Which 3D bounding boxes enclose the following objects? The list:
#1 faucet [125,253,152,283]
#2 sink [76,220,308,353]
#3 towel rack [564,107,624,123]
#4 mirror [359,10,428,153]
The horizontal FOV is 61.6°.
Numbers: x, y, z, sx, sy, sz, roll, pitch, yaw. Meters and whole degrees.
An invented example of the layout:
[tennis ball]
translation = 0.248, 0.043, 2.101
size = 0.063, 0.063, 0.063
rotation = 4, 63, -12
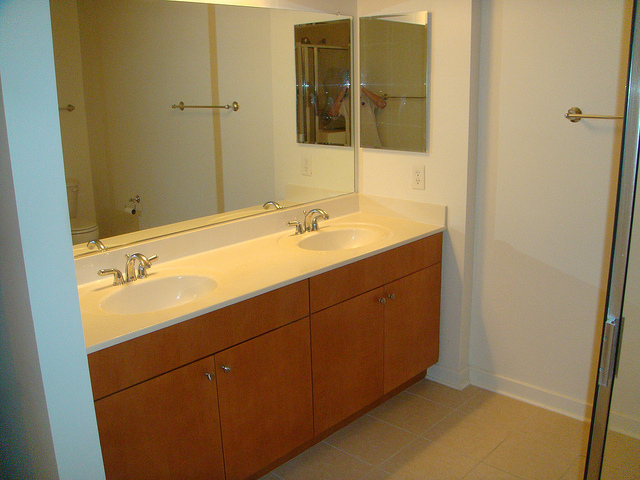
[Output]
[faucet]
translation = -0.789, 0.121, 2.277
size = 0.068, 0.143, 0.175
rotation = -7, 8, -43
[sink]
translation = -0.589, 0.162, 2.320
size = 0.943, 0.248, 0.658
rotation = -15, 21, -33
[towel rack]
translation = 1.321, -0.598, 2.578
size = 0.064, 0.092, 0.230
rotation = -16, 13, -42
[mirror]
translation = 0.423, -0.892, 3.061
size = 0.457, 0.741, 0.086
rotation = 12, 22, 40
